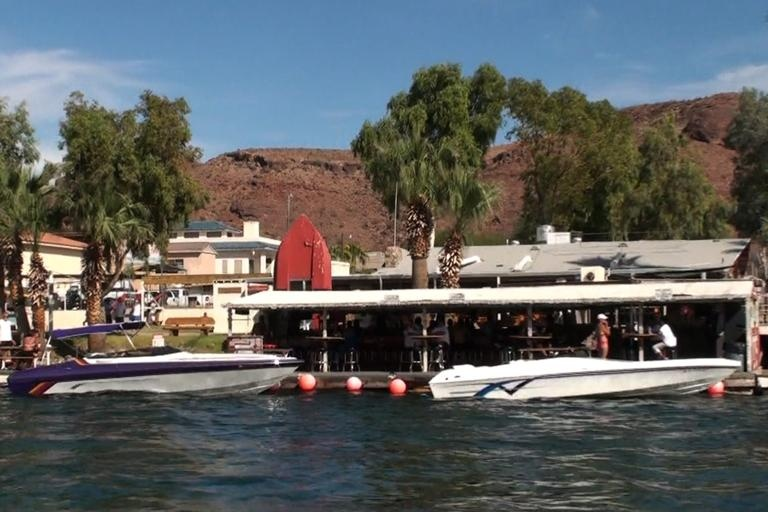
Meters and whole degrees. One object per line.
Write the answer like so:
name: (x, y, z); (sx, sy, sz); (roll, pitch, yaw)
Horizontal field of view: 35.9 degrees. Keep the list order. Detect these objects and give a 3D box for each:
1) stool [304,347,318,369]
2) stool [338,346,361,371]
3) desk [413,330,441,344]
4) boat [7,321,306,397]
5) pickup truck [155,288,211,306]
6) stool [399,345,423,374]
stool: (-3.787, 5.269, 60.851); (0.856, 1.272, 0.878); (-2, -1, 28)
stool: (-1.836, 5.239, 60.573); (1.122, 1.732, 1.183); (0, -15, 0)
desk: (2.223, 4.100, 59.320); (1.460, 0.603, 1.587); (1, -2, 2)
boat: (-11.084, 5.546, 57.110); (12.494, 2.377, 0.776); (1, -1, -5)
pickup truck: (-14.442, 2.957, 85.549); (2.428, 0.640, 2.546); (-1, -1, 12)
stool: (1.432, 5.114, 60.302); (1.164, 1.188, 1.186); (0, 3, -18)
